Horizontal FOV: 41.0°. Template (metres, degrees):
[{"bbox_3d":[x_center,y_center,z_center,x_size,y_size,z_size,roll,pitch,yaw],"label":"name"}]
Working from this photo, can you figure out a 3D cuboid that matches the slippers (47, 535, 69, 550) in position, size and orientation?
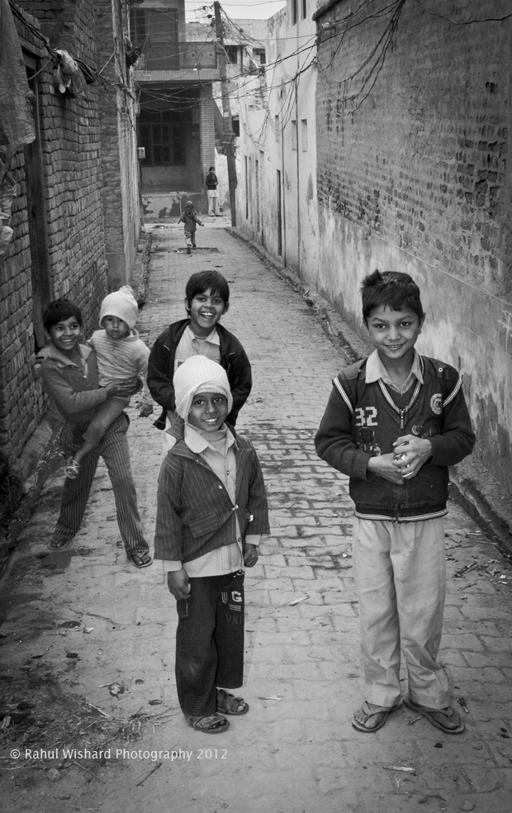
[{"bbox_3d":[-1.194,0.815,4.120,0.120,0.065,0.064,0,0,36],"label":"slippers"}]

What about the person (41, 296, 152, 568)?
[{"bbox_3d":[-0.941,0.151,4.036,0.649,1.525,0.499,0,3,8],"label":"person"}]

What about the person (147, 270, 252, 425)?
[{"bbox_3d":[-0.307,-0.004,3.605,0.443,1.417,0.422,2,12,-10],"label":"person"}]

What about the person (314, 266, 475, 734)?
[{"bbox_3d":[0.465,0.460,2.309,0.520,1.308,0.339,0,3,0],"label":"person"}]

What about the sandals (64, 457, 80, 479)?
[{"bbox_3d":[-1.051,0.367,3.897,0.076,0.137,0.165,-1,5,-16],"label":"sandals"}]

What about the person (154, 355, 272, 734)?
[{"bbox_3d":[-0.154,0.478,2.379,0.419,1.290,0.255,-1,3,-18],"label":"person"}]

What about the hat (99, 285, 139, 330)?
[{"bbox_3d":[-0.819,-0.578,4.053,0.211,0.262,0.283,-1,4,-15],"label":"hat"}]

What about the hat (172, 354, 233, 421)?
[{"bbox_3d":[-0.190,-0.051,2.307,0.195,0.221,0.188,0,4,2],"label":"hat"}]

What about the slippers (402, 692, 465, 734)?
[{"bbox_3d":[0.637,1.074,2.410,0.063,0.108,0.200,-3,9,-31],"label":"slippers"}]
